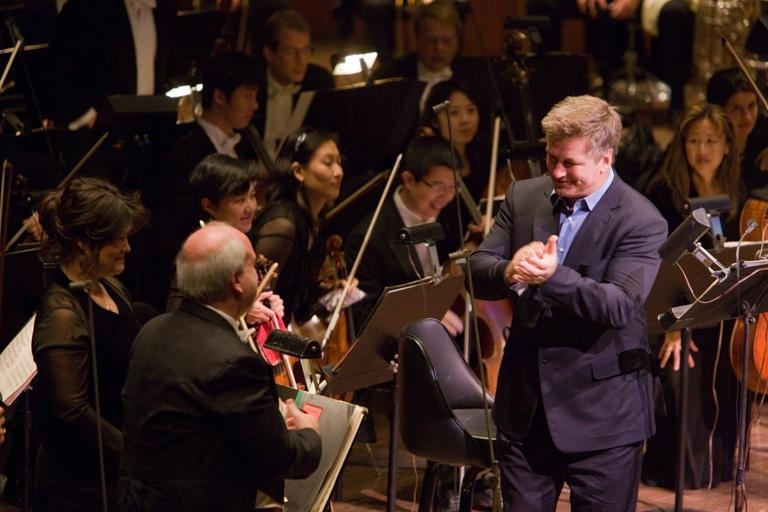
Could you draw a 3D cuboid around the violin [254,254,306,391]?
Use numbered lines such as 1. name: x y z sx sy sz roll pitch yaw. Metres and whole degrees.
1. violin: -0.511 0.305 3.716 0.132 0.589 0.268 -3 -11 -46
